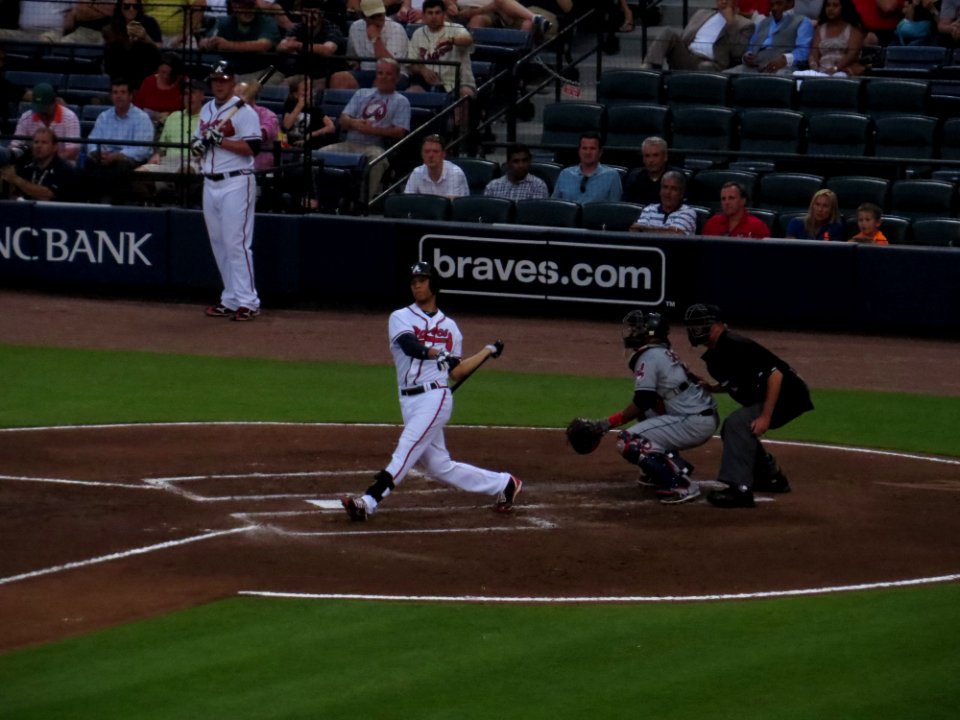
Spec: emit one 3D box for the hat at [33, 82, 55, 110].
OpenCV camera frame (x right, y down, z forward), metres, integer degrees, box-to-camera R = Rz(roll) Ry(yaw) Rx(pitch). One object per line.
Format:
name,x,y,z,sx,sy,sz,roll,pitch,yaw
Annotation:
hat,-5.385,-3.267,19.643,0.265,0.338,0.317,-1,9,-7

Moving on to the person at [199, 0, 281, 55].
person,-3.318,-4.628,22.014,0.901,0.671,0.986,1,9,4

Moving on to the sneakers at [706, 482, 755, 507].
sneakers,2.038,1.084,12.879,0.434,0.176,0.160,6,16,-2

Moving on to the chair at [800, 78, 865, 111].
chair,4.424,-3.361,20.104,0.708,0.539,0.492,4,31,13

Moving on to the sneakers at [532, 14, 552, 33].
sneakers,0.890,-4.817,22.678,0.157,0.132,0.363,43,-2,18

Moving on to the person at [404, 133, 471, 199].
person,-0.505,-2.350,19.184,0.776,0.747,0.664,-1,9,-7

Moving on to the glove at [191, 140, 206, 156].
glove,-3.059,-2.332,17.332,0.158,0.147,0.172,-1,17,-4

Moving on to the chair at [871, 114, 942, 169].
chair,5.188,-2.725,19.404,0.666,0.732,0.717,4,3,14

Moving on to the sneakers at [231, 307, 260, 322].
sneakers,-2.655,-0.542,18.131,0.123,0.113,0.312,8,7,43

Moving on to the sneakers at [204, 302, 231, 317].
sneakers,-2.983,-0.585,18.291,0.335,0.119,0.119,3,6,-2

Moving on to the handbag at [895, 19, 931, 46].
handbag,5.843,-4.437,21.377,0.445,0.323,0.280,7,11,39

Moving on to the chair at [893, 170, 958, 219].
chair,5.120,-1.930,18.407,0.565,0.610,0.591,4,6,15

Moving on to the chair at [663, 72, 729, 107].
chair,2.814,-3.544,20.661,0.693,0.539,0.551,3,11,12

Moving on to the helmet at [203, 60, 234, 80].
helmet,-2.816,-3.175,17.334,0.326,0.172,0.374,3,11,8

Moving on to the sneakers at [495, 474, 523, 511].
sneakers,0.205,1.043,12.513,0.172,0.323,0.131,0,32,-40

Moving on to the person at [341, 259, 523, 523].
person,-0.383,0.221,12.227,1.420,1.957,0.690,-1,9,-12

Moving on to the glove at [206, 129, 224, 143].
glove,-2.874,-2.451,17.280,0.173,0.130,0.166,-15,25,-42

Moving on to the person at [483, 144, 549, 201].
person,0.469,-2.298,19.425,1.086,0.692,0.458,-1,11,-7

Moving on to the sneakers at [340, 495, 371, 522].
sneakers,-0.919,1.106,11.914,0.150,0.253,0.100,-29,28,-14

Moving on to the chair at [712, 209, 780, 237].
chair,3.113,-1.634,18.350,0.497,0.425,0.451,1,-4,14

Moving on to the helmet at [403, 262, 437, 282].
helmet,-0.469,-0.672,12.157,0.201,0.168,0.242,0,11,14

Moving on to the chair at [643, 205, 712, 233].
chair,2.302,-1.659,18.384,0.499,0.326,0.517,14,0,38

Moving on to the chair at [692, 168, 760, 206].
chair,2.899,-2.094,18.887,0.508,0.559,0.538,4,7,15

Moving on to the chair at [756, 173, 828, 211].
chair,3.693,-1.994,18.810,0.545,0.579,0.570,4,5,12

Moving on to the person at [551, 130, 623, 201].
person,1.332,-2.365,19.363,1.218,0.896,0.594,2,11,10

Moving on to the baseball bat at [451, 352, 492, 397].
baseball bat,-0.078,0.136,14.246,0.119,0.100,0.751,35,50,24

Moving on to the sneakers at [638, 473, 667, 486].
sneakers,1.427,0.996,13.256,0.075,0.075,0.206,-6,10,-34

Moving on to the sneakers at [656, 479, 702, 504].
sneakers,1.634,1.061,12.885,0.386,0.176,0.114,-2,9,-20

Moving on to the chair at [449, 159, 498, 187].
chair,-0.067,-2.356,19.817,0.498,0.433,0.413,1,10,7

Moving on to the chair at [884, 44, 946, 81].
chair,5.712,-3.946,20.847,0.852,0.444,0.576,4,9,26

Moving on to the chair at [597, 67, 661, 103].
chair,1.986,-3.631,20.954,0.671,0.571,0.585,4,14,13

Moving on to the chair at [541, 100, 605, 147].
chair,1.260,-3.116,20.707,0.885,0.726,0.715,3,9,14

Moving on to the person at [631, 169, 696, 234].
person,2.128,-1.830,18.268,0.748,0.720,0.595,3,9,16

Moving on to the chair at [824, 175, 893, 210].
chair,4.439,-2.019,18.699,0.511,0.530,0.512,3,17,17

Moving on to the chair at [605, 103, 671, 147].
chair,2.027,-3.020,20.262,0.701,0.606,0.687,1,7,7

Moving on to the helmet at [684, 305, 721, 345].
helmet,1.824,-0.291,12.950,0.275,0.331,0.197,2,9,10

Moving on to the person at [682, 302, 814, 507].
person,2.178,0.349,12.969,1.011,1.599,0.683,0,9,-1

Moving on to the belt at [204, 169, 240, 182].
belt,-2.853,-2.069,17.620,0.402,0.127,0.119,3,9,19

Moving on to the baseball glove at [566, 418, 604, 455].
baseball glove,0.853,0.600,13.058,0.253,0.316,0.135,40,29,-9

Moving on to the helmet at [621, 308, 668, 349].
helmet,1.343,-0.283,13.088,0.407,0.263,0.285,5,1,2

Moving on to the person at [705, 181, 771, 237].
person,2.934,-1.705,18.054,0.516,0.621,1.068,-11,12,-36

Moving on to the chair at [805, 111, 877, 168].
chair,4.432,-2.731,19.603,0.758,0.685,0.687,4,13,14

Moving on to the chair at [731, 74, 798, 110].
chair,3.685,-3.558,20.528,0.675,0.557,0.558,4,17,14

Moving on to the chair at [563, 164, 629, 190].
chair,1.325,-2.116,19.043,0.766,0.424,0.345,2,1,11

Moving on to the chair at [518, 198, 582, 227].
chair,0.791,-1.752,18.724,0.764,0.319,0.459,3,-1,6
